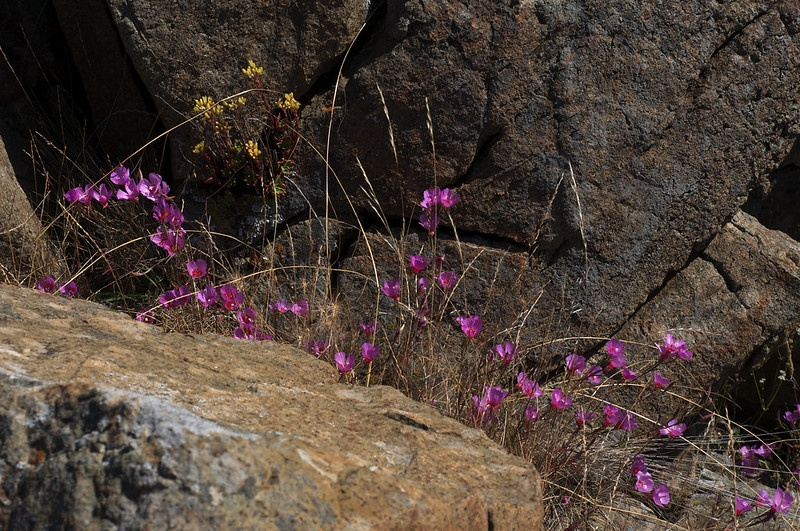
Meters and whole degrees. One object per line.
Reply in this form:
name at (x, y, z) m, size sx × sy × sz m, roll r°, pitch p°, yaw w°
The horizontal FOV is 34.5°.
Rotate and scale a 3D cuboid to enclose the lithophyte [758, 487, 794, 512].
lithophyte at (2.524, 1.516, 8.568) m, size 0.184 × 0.130 × 0.194 m, roll -10°, pitch 8°, yaw -21°
